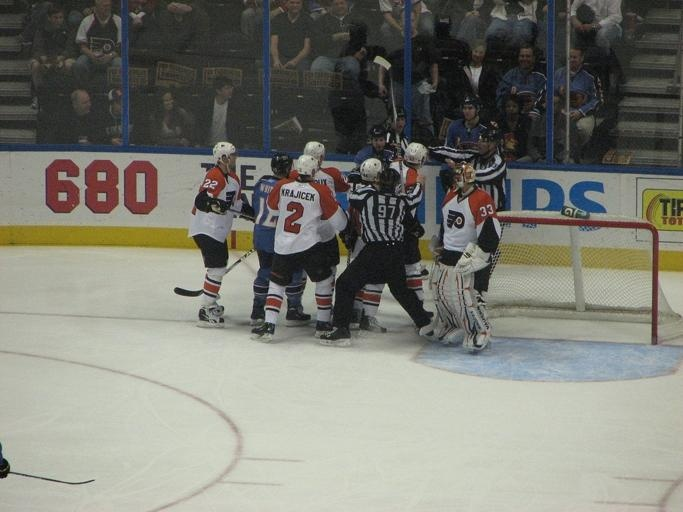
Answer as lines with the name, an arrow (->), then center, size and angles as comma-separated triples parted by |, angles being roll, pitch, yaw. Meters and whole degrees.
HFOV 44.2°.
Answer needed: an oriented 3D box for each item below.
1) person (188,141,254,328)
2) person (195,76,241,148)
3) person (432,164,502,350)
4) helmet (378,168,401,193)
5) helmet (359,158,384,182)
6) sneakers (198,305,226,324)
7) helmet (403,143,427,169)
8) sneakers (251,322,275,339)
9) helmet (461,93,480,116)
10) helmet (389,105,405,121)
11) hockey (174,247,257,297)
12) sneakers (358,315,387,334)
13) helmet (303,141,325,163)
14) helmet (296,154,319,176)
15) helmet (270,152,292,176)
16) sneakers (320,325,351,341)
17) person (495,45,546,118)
person -> -1.142, -0.221, 7.916 | 0.528, 1.700, 0.771 | 2, 6, 9
person -> -1.609, -1.898, 10.954 | 0.582, 0.922, 0.134 | 2, 6, 16
person -> 1.021, 0.000, 7.280 | 0.619, 1.607, 0.376 | 6, 8, 43
helmet -> 0.419, -0.671, 7.326 | 0.164, 0.208, 0.202 | 4, -21, 3
helmet -> 0.288, -0.774, 7.527 | 0.172, 0.212, 0.173 | 8, -30, 21
sneakers -> -1.206, 0.536, 7.835 | 0.220, 0.196, 0.209 | 0, 6, -10
helmet -> 0.757, -1.012, 8.283 | 0.193, 0.231, 0.246 | 11, 30, 7
sneakers -> -0.665, 0.657, 7.406 | 0.217, 0.142, 0.124 | 6, 7, 12
helmet -> 1.419, -1.678, 9.208 | 0.173, 0.217, 0.227 | 2, 6, 13
helmet -> 0.605, -1.543, 9.119 | 0.109, 0.151, 0.183 | 4, 7, 32
hockey -> -1.354, 0.191, 9.051 | 0.873, 0.148, 0.095 | -33, 48, -29
sneakers -> 0.276, 0.629, 7.787 | 0.309, 0.171, 0.118 | -1, 10, -9
helmet -> -0.238, -0.989, 7.807 | 0.232, 0.269, 0.284 | 1, 11, 4
helmet -> -0.289, -0.802, 7.433 | 0.151, 0.183, 0.195 | 11, 11, 22
helmet -> -0.552, -0.881, 7.755 | 0.180, 0.199, 0.210 | 22, 38, 27
sneakers -> -0.039, 0.676, 7.401 | 0.304, 0.196, 0.105 | 3, 6, 1
person -> 2.257, -2.181, 10.440 | 0.643, 0.867, 0.510 | 5, 11, 12
